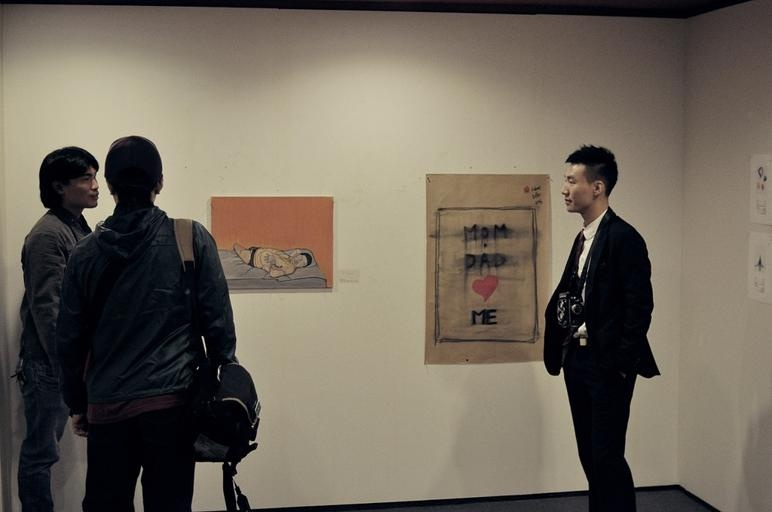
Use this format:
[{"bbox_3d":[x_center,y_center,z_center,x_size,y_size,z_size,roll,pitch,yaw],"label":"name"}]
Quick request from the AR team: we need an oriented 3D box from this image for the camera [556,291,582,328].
[{"bbox_3d":[1.271,0.374,6.658,0.162,0.213,0.170,5,-13,-23],"label":"camera"}]
